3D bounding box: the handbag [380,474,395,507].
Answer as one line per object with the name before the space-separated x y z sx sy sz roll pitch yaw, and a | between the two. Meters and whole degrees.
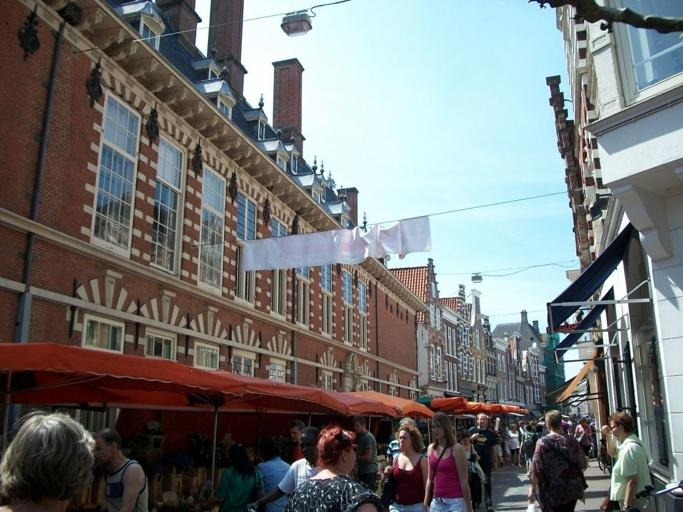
handbag | 0.630 3.011 7.810 0.122 0.418 0.262 6 -8 -30
